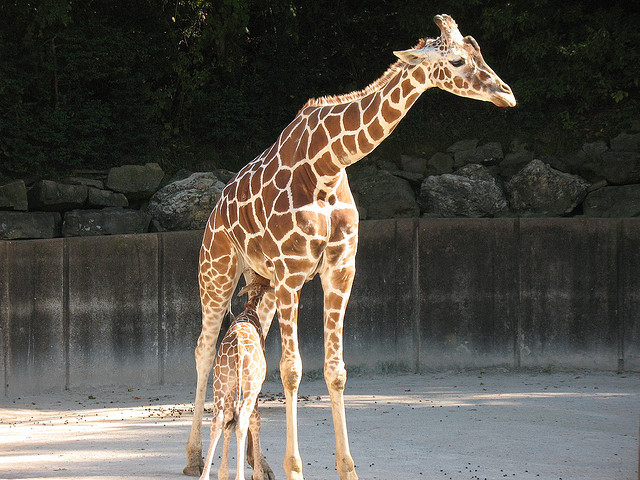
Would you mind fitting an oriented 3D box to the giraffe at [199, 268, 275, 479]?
[{"bbox_3d":[-1.122,1.908,17.525,0.686,2.947,1.057,1,3,34],"label":"giraffe"}]
